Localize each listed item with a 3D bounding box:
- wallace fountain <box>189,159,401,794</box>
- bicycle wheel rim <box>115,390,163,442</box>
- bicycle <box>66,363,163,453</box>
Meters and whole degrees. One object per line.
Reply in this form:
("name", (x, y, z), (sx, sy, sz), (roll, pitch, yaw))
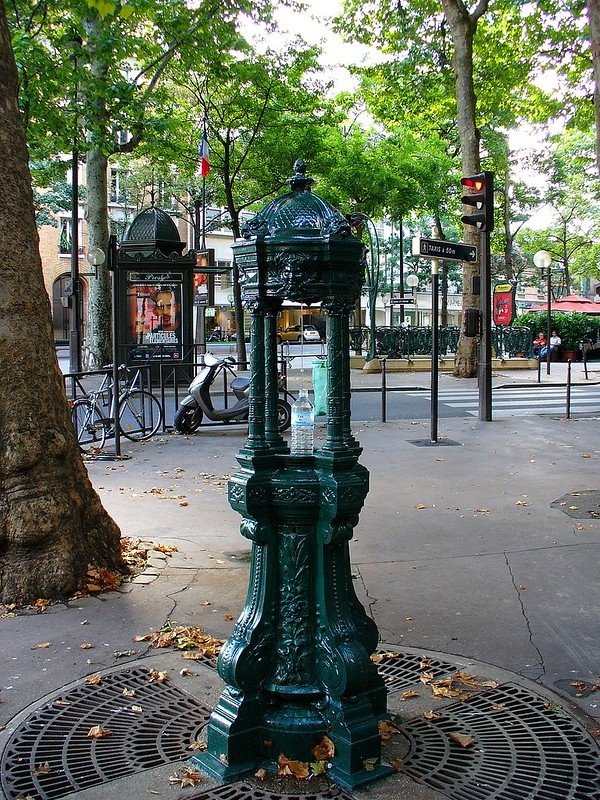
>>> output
("wallace fountain", (-0.009, 0.269, 3.186), (0.698, 2.165, 0.667), (-1, 5, 17))
("bicycle wheel rim", (-2.485, 0.242, 12.822), (0.154, 0.788, 0.803), (-2, -8, 42))
("bicycle", (-2.661, 0.100, 11.970), (1.667, 1.041, 0.741), (-10, 1, 31))
